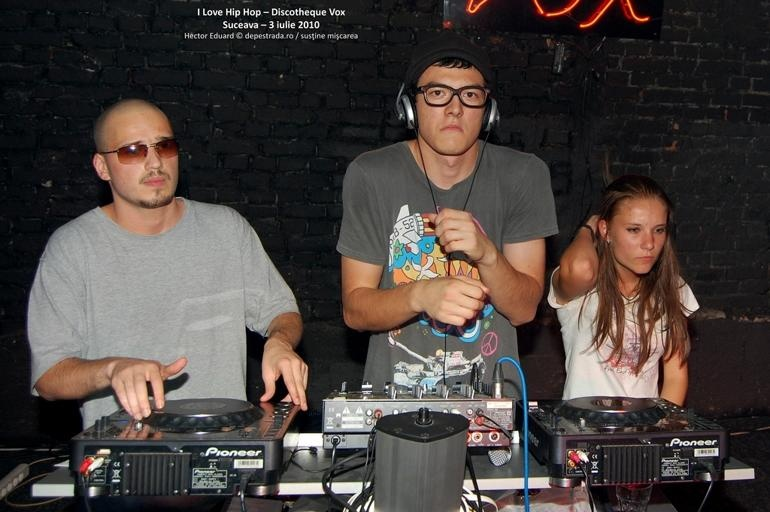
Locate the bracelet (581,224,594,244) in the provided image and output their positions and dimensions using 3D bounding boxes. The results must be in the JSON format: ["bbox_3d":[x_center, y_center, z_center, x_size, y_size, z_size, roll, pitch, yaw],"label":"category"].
[{"bbox_3d":[1.082,-0.115,3.766,0.066,0.088,0.096,-1,-36,10],"label":"bracelet"}]

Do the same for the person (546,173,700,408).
[{"bbox_3d":[1.231,0.172,3.629,0.761,1.177,0.522,-1,5,8],"label":"person"}]

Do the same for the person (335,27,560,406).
[{"bbox_3d":[0.294,-0.163,3.122,1.012,1.616,0.643,-2,5,-4],"label":"person"}]

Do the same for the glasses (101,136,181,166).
[{"bbox_3d":[-1.163,-0.488,3.333,0.358,0.133,0.133,-2,4,-13],"label":"glasses"}]

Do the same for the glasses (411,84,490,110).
[{"bbox_3d":[0.291,-0.697,3.132,0.307,0.110,0.078,-1,5,-1],"label":"glasses"}]

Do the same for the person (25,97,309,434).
[{"bbox_3d":[-0.997,-0.018,3.202,1.187,1.421,0.660,-2,5,-13],"label":"person"}]
